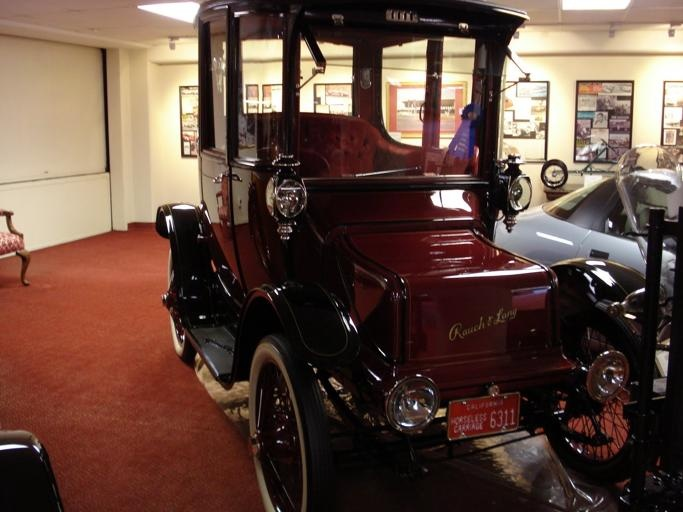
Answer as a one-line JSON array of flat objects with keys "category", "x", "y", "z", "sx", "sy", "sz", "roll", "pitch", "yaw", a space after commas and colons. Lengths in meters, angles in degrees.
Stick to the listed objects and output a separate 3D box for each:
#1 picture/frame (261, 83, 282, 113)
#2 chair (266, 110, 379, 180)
[{"category": "picture/frame", "x": -0.302, "y": -0.693, "z": 2.151, "sx": 0.010, "sy": 0.146, "sz": 0.126, "roll": -6, "pitch": 10, "yaw": -41}, {"category": "chair", "x": -0.028, "y": -0.490, "z": 2.161, "sx": 0.265, "sy": 0.159, "sz": 0.384, "roll": -3, "pitch": 9, "yaw": -26}]
